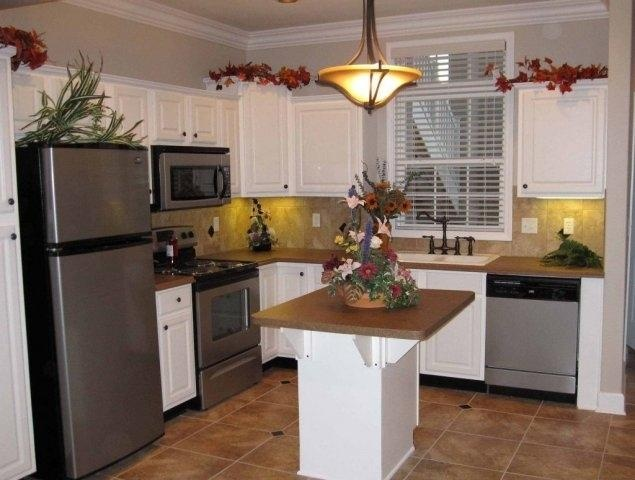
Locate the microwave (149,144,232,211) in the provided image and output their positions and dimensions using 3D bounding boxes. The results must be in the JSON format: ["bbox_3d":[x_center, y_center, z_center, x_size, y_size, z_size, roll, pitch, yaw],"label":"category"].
[{"bbox_3d":[-1.099,-0.551,4.476,0.496,0.587,0.901,2,6,24],"label":"microwave"}]

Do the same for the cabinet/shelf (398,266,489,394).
[{"bbox_3d":[1.108,0.742,4.879,0.841,1.333,0.829,1,1,20],"label":"cabinet/shelf"}]

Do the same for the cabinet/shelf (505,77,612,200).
[{"bbox_3d":[2.113,-0.775,4.629,0.989,1.362,0.849,1,3,28],"label":"cabinet/shelf"}]

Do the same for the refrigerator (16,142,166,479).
[{"bbox_3d":[-1.487,0.452,3.338,0.804,2.127,0.454,-5,9,-22],"label":"refrigerator"}]
